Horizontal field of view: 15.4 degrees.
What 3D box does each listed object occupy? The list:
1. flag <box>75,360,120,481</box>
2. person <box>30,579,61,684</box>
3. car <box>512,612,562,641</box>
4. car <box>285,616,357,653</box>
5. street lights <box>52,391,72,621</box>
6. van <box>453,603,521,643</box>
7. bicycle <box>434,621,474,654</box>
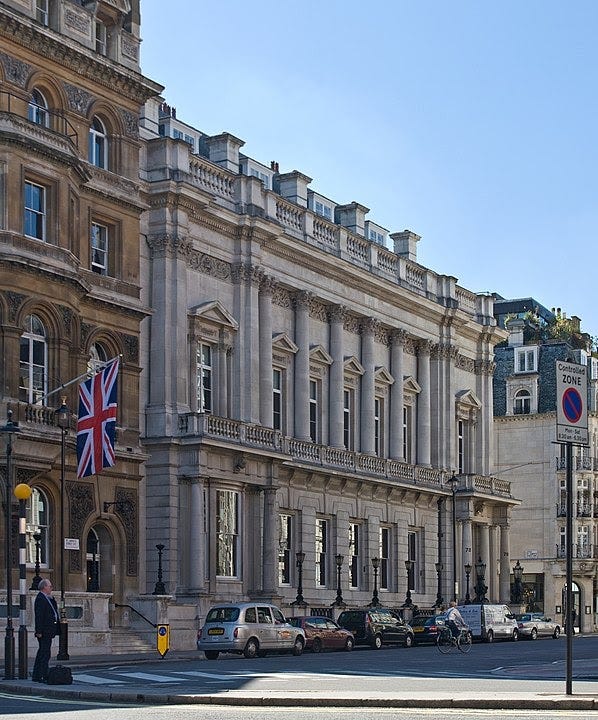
[{"bbox_3d":[-5.808,1.644,62.692,0.947,3.419,1.532,7,-13,-32],"label":"flag"},{"bbox_3d":[-5.597,5.927,48.358,0.459,2.292,0.654,0,-7,-8],"label":"person"},{"bbox_3d":[9.363,10.446,86.406,0.934,0.888,2.310,-1,-3,35],"label":"car"},{"bbox_3d":[0.784,8.764,70.261,0.988,0.866,2.041,-3,-6,38],"label":"car"},{"bbox_3d":[-6.919,4.192,63.683,0.409,6.278,0.633,-13,-11,38],"label":"street lights"},{"bbox_3d":[6.899,9.589,80.155,1.189,1.404,2.568,-3,-4,33],"label":"van"},{"bbox_3d":[4.784,8.449,66.624,1.260,0.875,0.628,4,-4,-41],"label":"bicycle"}]
